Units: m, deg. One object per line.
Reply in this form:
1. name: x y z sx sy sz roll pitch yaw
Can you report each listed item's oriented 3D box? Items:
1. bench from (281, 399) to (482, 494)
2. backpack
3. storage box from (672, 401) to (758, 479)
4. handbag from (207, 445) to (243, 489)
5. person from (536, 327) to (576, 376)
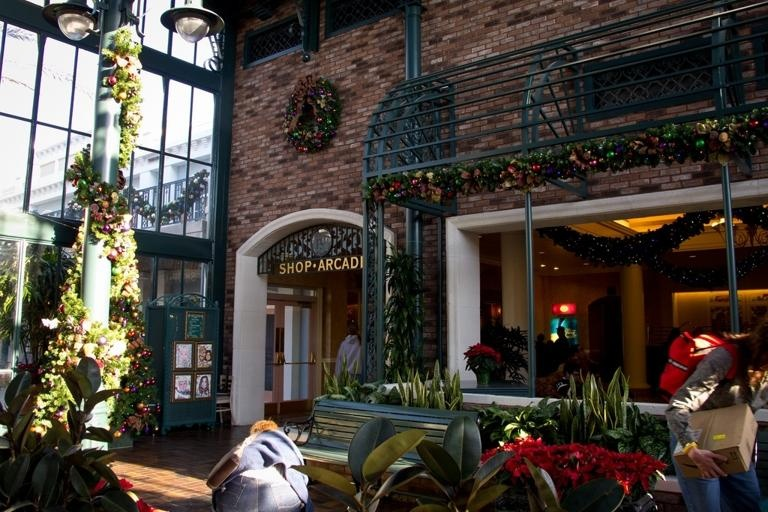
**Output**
1. bench: -0.098 2.146 6.986 1.835 0.795 0.647 -1 5 27
2. backpack: 2.351 0.871 4.859 0.471 0.494 0.332 14 10 4
3. storage box: 2.378 1.285 4.460 0.526 0.333 0.540 -16 22 44
4. handbag: -1.167 1.549 4.537 0.303 0.072 0.222 -44 4 6
5. person: 3.443 1.909 12.667 0.714 0.994 1.583 -4 -10 13
